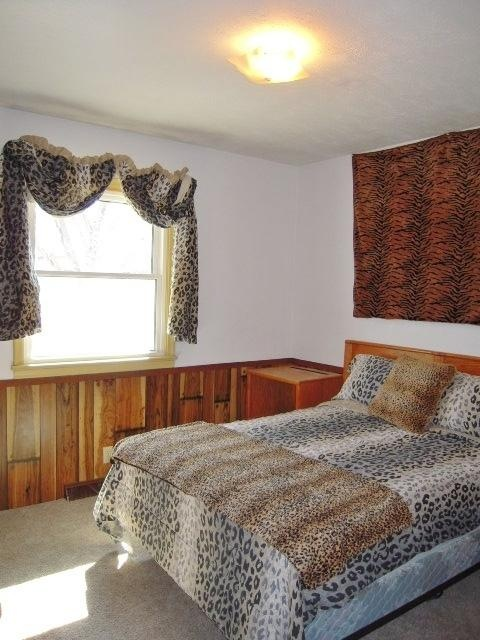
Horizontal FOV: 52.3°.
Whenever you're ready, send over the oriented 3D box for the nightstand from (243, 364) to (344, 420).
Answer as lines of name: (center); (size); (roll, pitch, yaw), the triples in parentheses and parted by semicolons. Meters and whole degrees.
nightstand: (0.375, 0.554, 3.729); (0.502, 0.410, 0.670); (2, 3, -31)
